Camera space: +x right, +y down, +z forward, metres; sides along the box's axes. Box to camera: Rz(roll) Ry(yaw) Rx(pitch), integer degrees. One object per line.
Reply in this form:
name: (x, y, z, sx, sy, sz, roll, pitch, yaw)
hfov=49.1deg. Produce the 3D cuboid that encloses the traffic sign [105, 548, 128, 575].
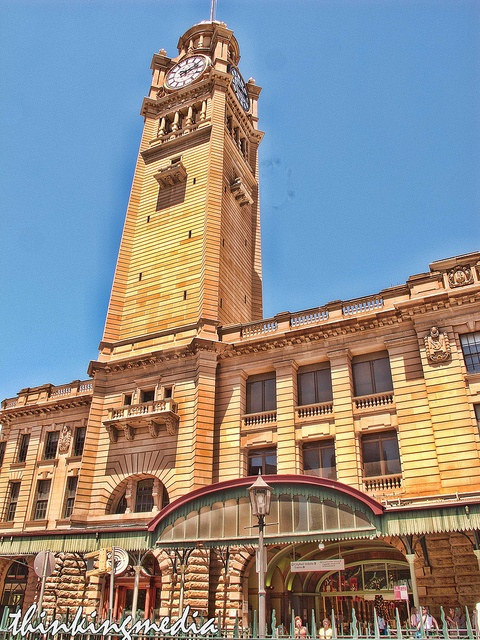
traffic sign: (-4.879, 9.558, 20.823, 0.758, 0.973, 1.819, 9, -34, -14)

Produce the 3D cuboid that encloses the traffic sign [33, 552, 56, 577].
traffic sign: (-4.960, 6.187, 13.381, 0.456, 0.741, 1.361, 11, -35, -17)
